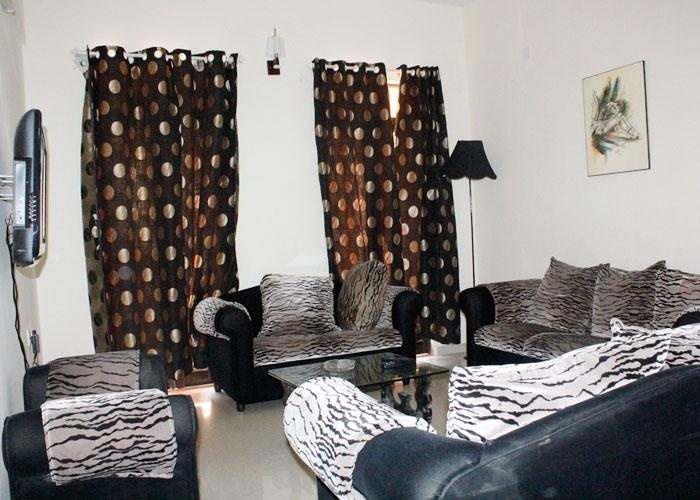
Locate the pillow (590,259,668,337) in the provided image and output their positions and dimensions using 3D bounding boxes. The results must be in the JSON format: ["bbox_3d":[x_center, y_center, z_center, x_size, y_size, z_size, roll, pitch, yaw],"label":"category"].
[{"bbox_3d":[1.900,0.340,3.885,0.191,0.526,0.432,31,-24,-30],"label":"pillow"}]

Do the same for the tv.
[{"bbox_3d":[-1.685,-0.321,2.991,0.170,0.813,0.450,-4,3,-29],"label":"tv"}]

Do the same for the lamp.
[{"bbox_3d":[1.248,-0.374,5.819,0.509,1.537,0.687,-1,3,16],"label":"lamp"}]

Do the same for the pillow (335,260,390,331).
[{"bbox_3d":[0.118,0.400,4.979,0.179,0.581,0.475,22,-12,-41],"label":"pillow"}]
